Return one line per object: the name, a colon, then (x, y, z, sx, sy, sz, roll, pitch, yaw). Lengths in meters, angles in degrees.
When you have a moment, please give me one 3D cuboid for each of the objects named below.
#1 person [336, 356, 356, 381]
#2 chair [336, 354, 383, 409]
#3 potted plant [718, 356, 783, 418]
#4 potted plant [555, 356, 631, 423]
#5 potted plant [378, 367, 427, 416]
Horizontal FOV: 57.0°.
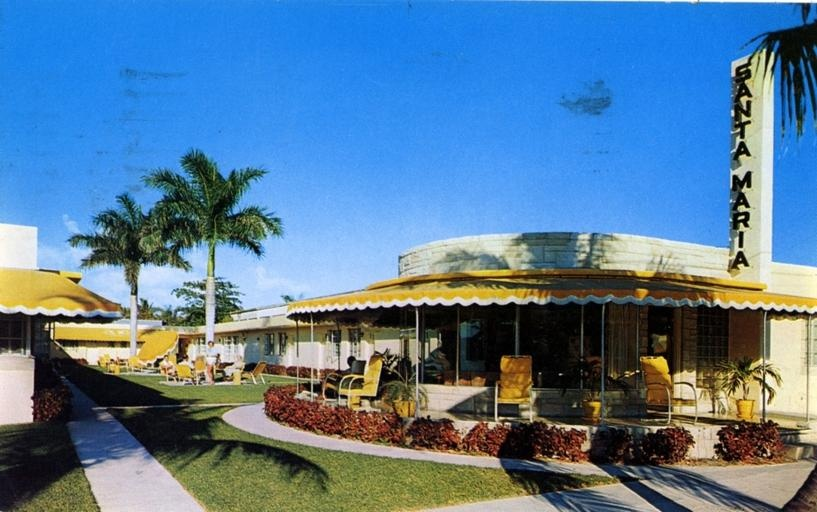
person: (-2.399, 4.614, 30.389, 0.405, 1.098, 0.825, 9, 3, 36)
chair: (-1.591, 4.590, 27.572, 2.060, 2.434, 1.693, -1, -8, -15)
potted plant: (12.155, 4.783, 26.978, 1.992, 2.096, 2.040, -4, 2, 43)
potted plant: (6.670, 4.666, 26.345, 1.691, 1.933, 2.097, 4, 0, -10)
potted plant: (-0.101, 4.621, 25.901, 1.847, 1.683, 1.376, 12, 17, 39)
